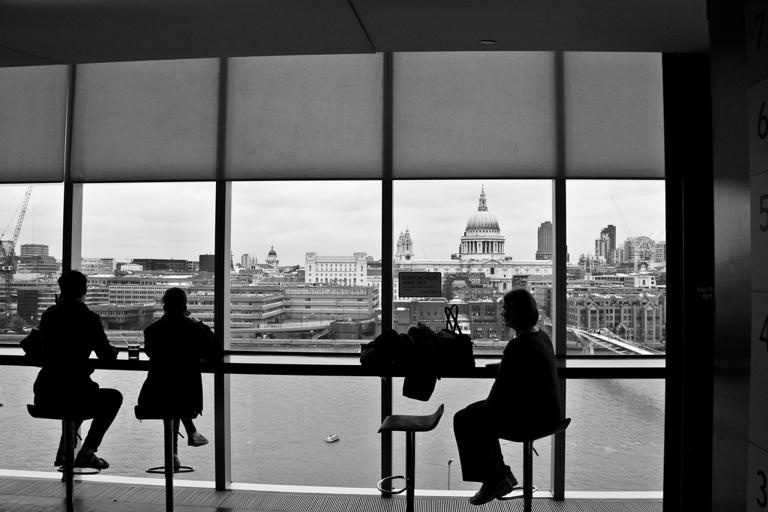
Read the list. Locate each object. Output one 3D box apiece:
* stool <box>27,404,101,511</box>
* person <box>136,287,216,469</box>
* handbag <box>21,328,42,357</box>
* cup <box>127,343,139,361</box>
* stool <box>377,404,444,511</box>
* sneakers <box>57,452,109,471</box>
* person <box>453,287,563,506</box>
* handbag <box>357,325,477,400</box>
[{"bbox_3d":[-2.715,1.658,8.372,0.472,0.930,0.848,2,-3,-18],"label":"stool"},{"bbox_3d":[-1.645,0.776,8.095,0.624,1.044,0.210,2,-3,-13],"label":"person"},{"bbox_3d":[-2.837,0.710,8.160,0.080,0.157,0.220,8,-24,-22],"label":"handbag"},{"bbox_3d":[-2.070,0.796,8.364,0.109,0.120,0.109,0,-6,0],"label":"cup"},{"bbox_3d":[0.209,1.639,8.153,0.515,0.952,0.909,1,-3,0],"label":"stool"},{"bbox_3d":[-2.542,1.701,8.489,0.486,0.198,0.175,2,-3,-16],"label":"sneakers"},{"bbox_3d":[0.946,1.076,7.786,0.815,1.643,0.295,1,-3,7],"label":"person"},{"bbox_3d":[0.305,0.806,8.092,0.683,0.221,0.672,-1,0,-42],"label":"handbag"}]
